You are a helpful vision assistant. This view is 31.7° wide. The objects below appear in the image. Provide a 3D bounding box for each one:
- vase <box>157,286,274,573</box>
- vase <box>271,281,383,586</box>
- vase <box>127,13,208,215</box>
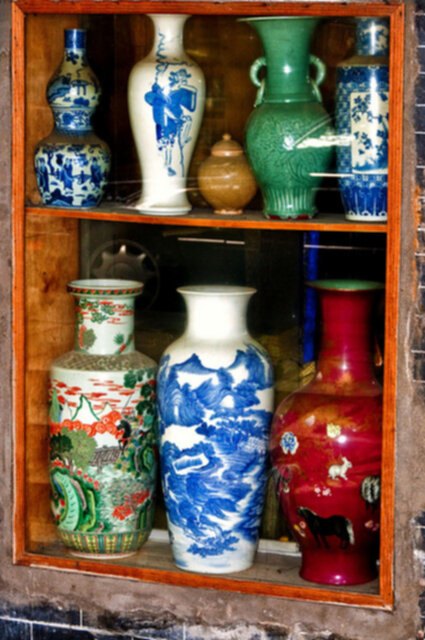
[{"bbox_3d":[0.011,0.213,1.490,0.235,0.564,0.111,-4,8,2],"label":"vase"},{"bbox_3d":[0.215,0.210,1.409,0.237,0.571,0.096,2,10,39],"label":"vase"},{"bbox_3d":[-0.092,-0.398,1.480,0.153,0.374,0.060,-1,9,27],"label":"vase"}]
